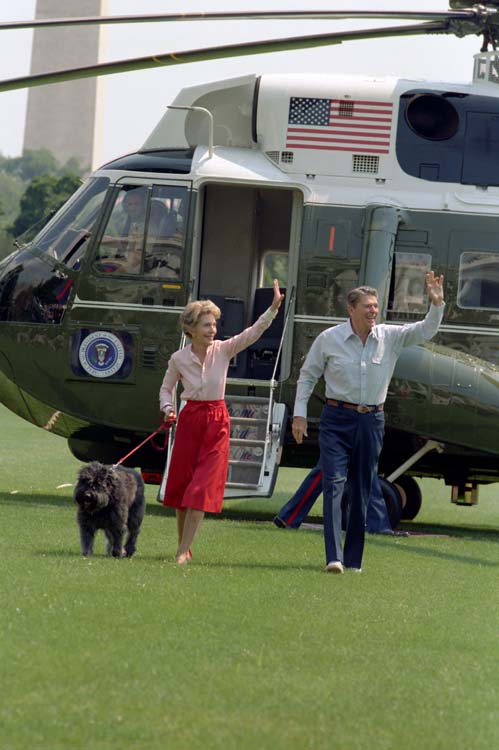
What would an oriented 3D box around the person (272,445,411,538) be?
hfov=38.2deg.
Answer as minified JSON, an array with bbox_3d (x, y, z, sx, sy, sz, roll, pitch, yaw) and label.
[{"bbox_3d":[0.820,0.978,6.107,1.036,0.533,1.377,2,24,8],"label":"person"}]

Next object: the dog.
[{"bbox_3d":[-0.887,0.873,4.658,0.323,0.573,0.972,1,-8,10],"label":"dog"}]

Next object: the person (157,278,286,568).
[{"bbox_3d":[-0.261,0.286,4.380,0.528,1.726,0.706,10,-7,-40],"label":"person"}]

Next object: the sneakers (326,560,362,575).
[{"bbox_3d":[0.587,1.159,4.384,0.257,0.098,0.085,13,-14,-30],"label":"sneakers"}]

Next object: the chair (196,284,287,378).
[{"bbox_3d":[0.002,-0.501,9.001,0.932,1.596,1.217,2,0,21],"label":"chair"}]

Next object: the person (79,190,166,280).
[{"bbox_3d":[-1.316,-1.536,7.950,0.782,0.934,0.231,17,-2,3],"label":"person"}]

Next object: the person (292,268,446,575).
[{"bbox_3d":[0.557,0.335,4.465,0.548,1.712,0.382,1,-7,37],"label":"person"}]
